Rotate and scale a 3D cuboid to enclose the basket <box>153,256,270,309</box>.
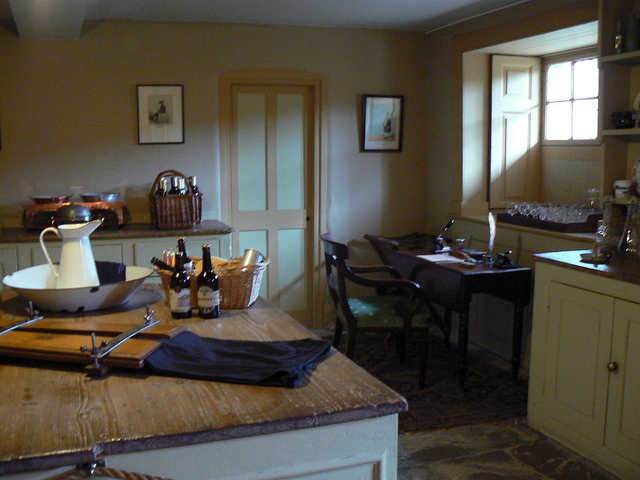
[{"bbox_3d":[-0.423,0.189,2.181,0.334,0.150,0.286,-2,-2,-2],"label":"basket"}]

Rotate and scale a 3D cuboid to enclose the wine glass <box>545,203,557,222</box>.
[{"bbox_3d":[1.802,-0.209,3.812,0.085,0.119,0.359,-2,22,23],"label":"wine glass"}]

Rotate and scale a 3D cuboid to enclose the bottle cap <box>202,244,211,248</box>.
[{"bbox_3d":[-0.576,0.028,2.482,0.026,0.012,0.028,-2,3,-38],"label":"bottle cap"}]

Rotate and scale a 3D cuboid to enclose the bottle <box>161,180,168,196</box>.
[{"bbox_3d":[-1.346,-0.461,4.235,0.051,0.118,0.236,-1,14,-17],"label":"bottle"}]

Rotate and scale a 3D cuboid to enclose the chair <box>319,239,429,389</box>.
[{"bbox_3d":[0.456,0.538,3.997,0.805,1.049,0.854,-1,5,-14],"label":"chair"}]

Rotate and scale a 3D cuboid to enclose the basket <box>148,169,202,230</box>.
[{"bbox_3d":[-1.231,-0.317,4.172,0.562,0.572,0.380,-3,8,-16],"label":"basket"}]

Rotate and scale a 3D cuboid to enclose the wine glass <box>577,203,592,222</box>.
[{"bbox_3d":[1.987,-0.198,3.663,0.082,0.099,0.181,10,16,28],"label":"wine glass"}]

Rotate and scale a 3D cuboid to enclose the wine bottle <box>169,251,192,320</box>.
[{"bbox_3d":[-0.575,0.183,2.021,0.087,0.269,0.116,-1,14,-17],"label":"wine bottle"}]

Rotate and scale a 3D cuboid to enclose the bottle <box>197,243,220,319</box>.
[{"bbox_3d":[-0.462,0.158,2.038,0.086,0.309,0.142,0,14,-11],"label":"bottle"}]

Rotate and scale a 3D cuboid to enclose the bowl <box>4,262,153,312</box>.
[{"bbox_3d":[-1.065,0.199,2.179,0.593,0.208,0.409,-2,15,-20],"label":"bowl"}]

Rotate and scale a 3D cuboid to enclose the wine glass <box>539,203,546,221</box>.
[{"bbox_3d":[1.775,-0.222,3.891,0.049,0.091,0.296,9,15,23],"label":"wine glass"}]

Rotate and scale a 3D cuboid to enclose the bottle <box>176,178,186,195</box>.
[{"bbox_3d":[-1.202,-0.464,4.248,0.067,0.122,0.108,5,14,9],"label":"bottle"}]

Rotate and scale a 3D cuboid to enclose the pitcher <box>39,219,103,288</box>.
[{"bbox_3d":[-1.277,0.066,2.485,0.330,0.410,0.237,1,12,-4],"label":"pitcher"}]
